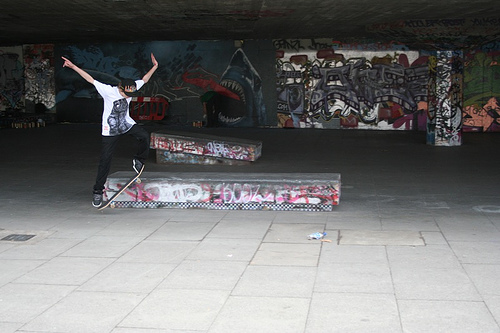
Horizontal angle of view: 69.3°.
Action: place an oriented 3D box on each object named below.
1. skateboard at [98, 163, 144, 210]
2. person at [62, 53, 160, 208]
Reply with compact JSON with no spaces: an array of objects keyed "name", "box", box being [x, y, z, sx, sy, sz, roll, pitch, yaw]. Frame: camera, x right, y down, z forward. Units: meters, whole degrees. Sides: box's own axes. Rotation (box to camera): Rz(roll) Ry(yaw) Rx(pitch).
[{"name":"skateboard","box":[-2.535,0.431,7.173,1.299,0.208,0.261,-37,6,-7]},{"name":"person","box":[-2.558,-0.596,7.076,1.439,2.770,0.846,-4,13,-15]}]
